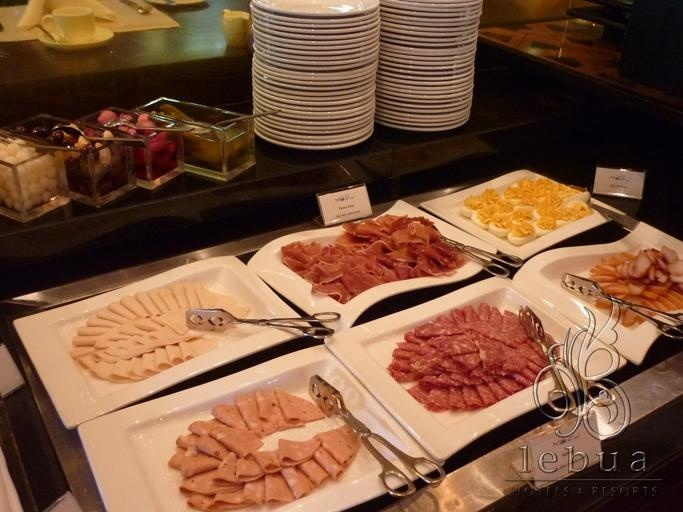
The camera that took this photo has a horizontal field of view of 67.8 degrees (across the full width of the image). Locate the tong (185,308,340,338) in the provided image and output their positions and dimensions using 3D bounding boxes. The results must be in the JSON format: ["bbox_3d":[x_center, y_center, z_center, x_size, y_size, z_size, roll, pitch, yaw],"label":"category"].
[{"bbox_3d":[-0.202,0.170,1.346,0.392,0.063,0.135,1,19,6],"label":"tong"}]

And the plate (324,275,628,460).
[{"bbox_3d":[0.352,0.248,1.201,0.534,0.076,0.381,-20,39,-24],"label":"plate"}]

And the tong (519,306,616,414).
[{"bbox_3d":[0.556,0.250,1.253,0.154,0.028,0.245,-17,43,-11],"label":"tong"}]

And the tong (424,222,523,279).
[{"bbox_3d":[0.380,-0.048,1.682,0.082,0.059,0.480,-22,34,-26],"label":"tong"}]

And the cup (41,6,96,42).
[{"bbox_3d":[-0.842,-0.724,1.600,0.153,0.104,0.110,-11,44,-24],"label":"cup"}]

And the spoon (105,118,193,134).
[{"bbox_3d":[-0.578,-0.383,1.518,0.315,0.035,0.050,2,25,8],"label":"spoon"}]

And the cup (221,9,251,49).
[{"bbox_3d":[-0.367,-0.787,1.771,0.096,0.122,0.145,-11,41,-20],"label":"cup"}]

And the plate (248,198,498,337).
[{"bbox_3d":[0.087,0.036,1.527,0.506,0.066,0.405,-22,42,-31],"label":"plate"}]

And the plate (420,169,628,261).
[{"bbox_3d":[0.646,-0.147,1.788,0.429,0.054,0.397,-18,35,-29],"label":"plate"}]

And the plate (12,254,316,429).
[{"bbox_3d":[-0.476,0.193,1.302,0.507,0.069,0.374,-19,40,-29],"label":"plate"}]

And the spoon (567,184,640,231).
[{"bbox_3d":[0.943,-0.191,1.887,0.066,0.018,0.378,-9,27,-14],"label":"spoon"}]

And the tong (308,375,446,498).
[{"bbox_3d":[0.059,0.393,1.101,0.132,0.063,0.367,-19,35,-32],"label":"tong"}]

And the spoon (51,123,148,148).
[{"bbox_3d":[-0.691,-0.331,1.455,0.247,0.067,0.108,4,41,2],"label":"spoon"}]
